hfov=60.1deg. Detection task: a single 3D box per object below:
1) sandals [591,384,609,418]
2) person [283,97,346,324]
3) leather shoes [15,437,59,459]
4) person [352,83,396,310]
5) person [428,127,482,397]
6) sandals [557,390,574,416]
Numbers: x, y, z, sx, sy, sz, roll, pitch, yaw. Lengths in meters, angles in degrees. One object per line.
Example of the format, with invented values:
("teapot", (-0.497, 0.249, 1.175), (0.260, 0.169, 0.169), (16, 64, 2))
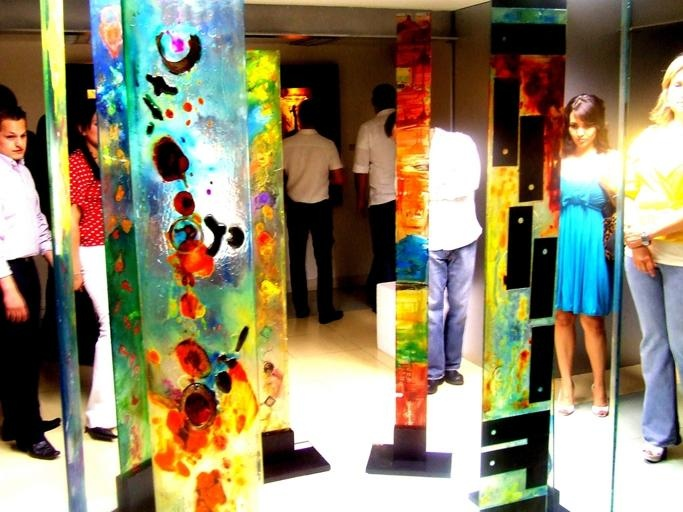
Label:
("sandals", (1.308, 0.738, 2.945), (0.065, 0.180, 0.050), (0, 7, 21))
("person", (-0.229, -0.363, 4.957), (0.531, 1.806, 0.449), (1, 9, -6))
("leather shoes", (-1.402, 0.879, 2.731), (0.212, 0.065, 0.080), (9, 13, 18))
("person", (0.272, -0.391, 4.797), (0.357, 1.854, 0.877), (1, 10, -6))
("person", (0.649, 0.046, 3.497), (0.284, 1.549, 0.324), (5, 10, 18))
("sandals", (1.096, 0.710, 2.884), (0.071, 0.134, 0.040), (1, 17, 12))
